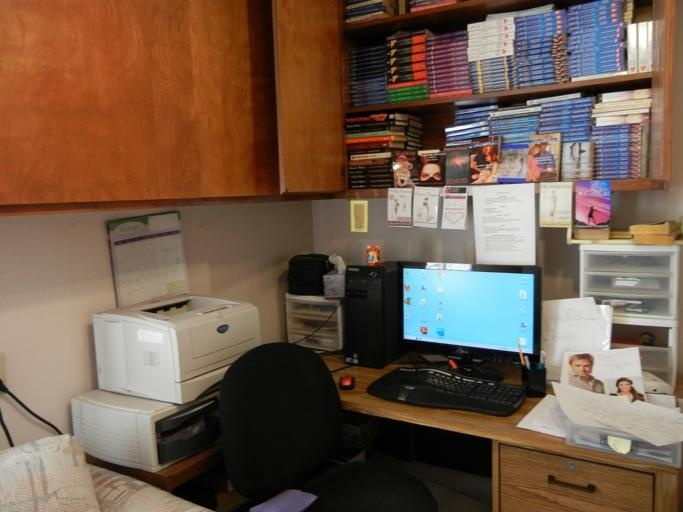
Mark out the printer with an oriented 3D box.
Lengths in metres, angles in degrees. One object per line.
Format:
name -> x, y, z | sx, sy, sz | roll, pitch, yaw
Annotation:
printer -> -0.694, 0.306, 2.144 | 0.445, 0.270, 0.455 | 4, 7, 29

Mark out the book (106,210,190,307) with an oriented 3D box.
book -> -0.844, 0.010, 2.285 | 0.409, 0.401, 0.058 | -11, 9, -41

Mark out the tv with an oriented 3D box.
tv -> 0.576, 0.278, 2.360 | 0.549, 0.352, 0.144 | 1, 4, 31

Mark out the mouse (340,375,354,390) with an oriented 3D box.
mouse -> 0.016, 0.534, 2.274 | 0.052, 0.046, 0.051 | -2, 0, 25
